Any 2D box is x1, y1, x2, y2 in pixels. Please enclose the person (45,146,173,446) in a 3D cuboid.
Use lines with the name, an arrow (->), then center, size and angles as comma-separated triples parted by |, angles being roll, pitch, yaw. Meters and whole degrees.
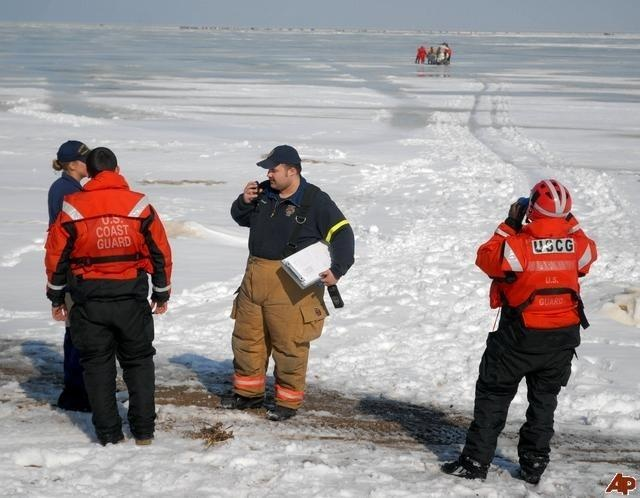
person -> -2.101, 0.476, 10.050 | 1.106, 2.967, 1.231 | -9, 22, -33

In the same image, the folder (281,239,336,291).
folder -> -0.117, 0.169, 10.568 | 0.634, 0.117, 0.425 | -28, 59, -29

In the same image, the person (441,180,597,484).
person -> 2.106, 0.853, 9.942 | 1.134, 3.054, 1.032 | 8, 19, 12

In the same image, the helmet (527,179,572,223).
helmet -> 2.344, -0.515, 10.012 | 0.467, 0.379, 0.446 | 15, 23, 29
